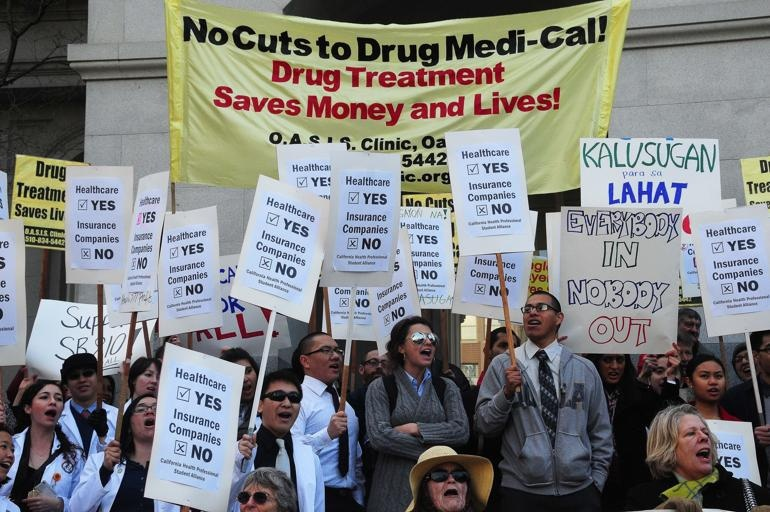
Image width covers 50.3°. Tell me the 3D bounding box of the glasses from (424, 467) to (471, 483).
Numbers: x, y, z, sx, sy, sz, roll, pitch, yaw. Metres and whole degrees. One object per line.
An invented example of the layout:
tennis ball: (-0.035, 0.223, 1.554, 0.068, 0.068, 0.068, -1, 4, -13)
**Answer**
glasses: (0.513, 1.810, 6.843, 0.345, 0.109, 0.072, 1, -8, -5)

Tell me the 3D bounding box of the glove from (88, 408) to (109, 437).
glove: (-2.792, 1.593, 8.041, 0.091, 0.268, 0.198, -20, -18, -31)

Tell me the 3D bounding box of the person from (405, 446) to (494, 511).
person: (0.539, 1.881, 6.889, 0.697, 0.481, 0.228, 0, -8, 1)
